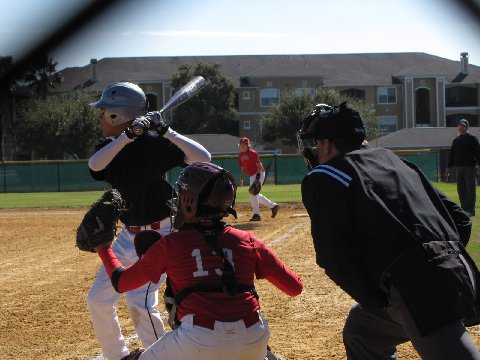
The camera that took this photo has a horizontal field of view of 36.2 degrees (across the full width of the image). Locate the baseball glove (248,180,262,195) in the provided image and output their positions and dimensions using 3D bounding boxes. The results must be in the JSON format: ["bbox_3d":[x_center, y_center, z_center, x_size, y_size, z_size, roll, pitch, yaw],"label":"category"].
[{"bbox_3d":[0.262,0.158,13.764,0.168,0.272,0.273,18,-35,-33],"label":"baseball glove"}]

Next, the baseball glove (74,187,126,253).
[{"bbox_3d":[-1.086,0.305,5.637,0.449,0.486,0.338,-4,8,-30],"label":"baseball glove"}]

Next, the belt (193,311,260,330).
[{"bbox_3d":[-0.100,0.983,5.139,0.466,0.100,0.077,-2,7,-11],"label":"belt"}]

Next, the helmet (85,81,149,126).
[{"bbox_3d":[-1.051,-0.684,6.563,0.515,0.417,0.404,-3,7,-6],"label":"helmet"}]

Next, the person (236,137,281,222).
[{"bbox_3d":[0.254,-0.046,14.288,0.989,1.674,0.608,0,0,-34],"label":"person"}]
